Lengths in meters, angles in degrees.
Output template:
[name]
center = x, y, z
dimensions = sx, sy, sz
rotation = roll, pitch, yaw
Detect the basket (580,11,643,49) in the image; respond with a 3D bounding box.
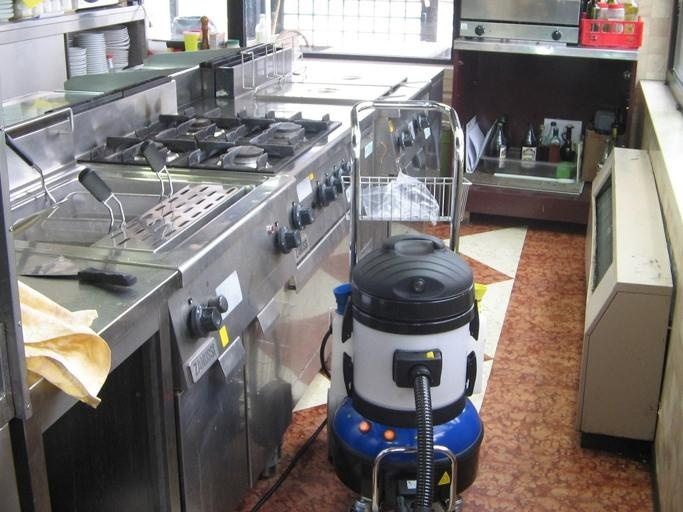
[basket]
center = 1.812, -1.477, 3.705
dimensions = 0.301, 0.183, 0.248
rotation = 7, 23, 15

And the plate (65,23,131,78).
[plate]
center = -2.043, -1.739, 4.650
dimensions = 0.282, 0.347, 0.852
rotation = 6, 23, 13

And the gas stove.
[gas stove]
center = -0.367, -0.301, 2.259
dimensions = 0.798, 0.467, 0.768
rotation = 1, 22, 1

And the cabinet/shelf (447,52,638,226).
[cabinet/shelf]
center = 1.531, -1.012, 4.303
dimensions = 1.126, 1.180, 0.631
rotation = 15, 23, 23
